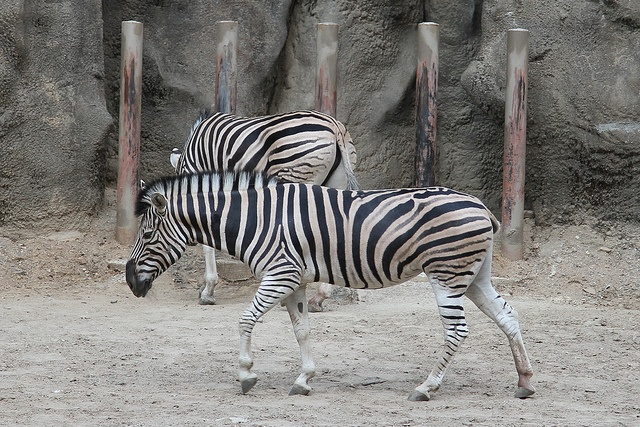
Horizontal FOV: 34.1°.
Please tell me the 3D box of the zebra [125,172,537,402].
[{"bbox_3d":[0.026,0.706,10.225,3.989,2.129,0.962,0,-1,4],"label":"zebra"}]
